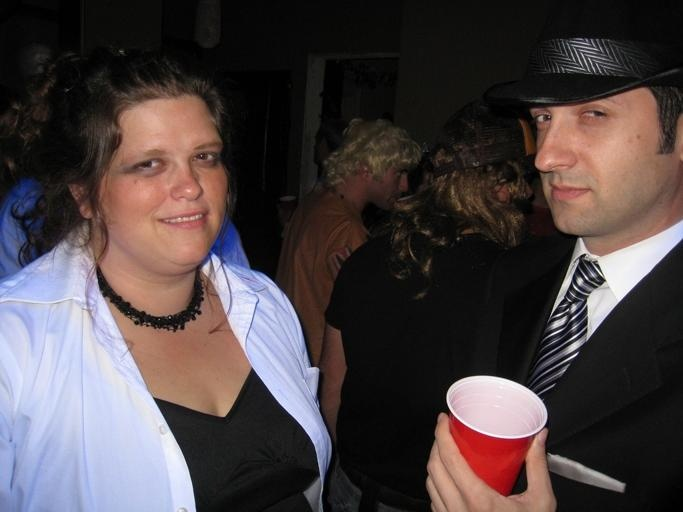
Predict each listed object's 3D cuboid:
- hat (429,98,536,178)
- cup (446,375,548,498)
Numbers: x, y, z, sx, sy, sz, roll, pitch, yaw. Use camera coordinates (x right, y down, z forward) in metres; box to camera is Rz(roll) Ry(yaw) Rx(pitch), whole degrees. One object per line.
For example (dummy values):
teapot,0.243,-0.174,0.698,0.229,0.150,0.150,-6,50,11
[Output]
hat,0.606,-0.545,2.891,0.480,0.300,0.320,-6,20,-13
cup,0.462,0.620,1.962,0.270,0.268,0.272,0,30,0
